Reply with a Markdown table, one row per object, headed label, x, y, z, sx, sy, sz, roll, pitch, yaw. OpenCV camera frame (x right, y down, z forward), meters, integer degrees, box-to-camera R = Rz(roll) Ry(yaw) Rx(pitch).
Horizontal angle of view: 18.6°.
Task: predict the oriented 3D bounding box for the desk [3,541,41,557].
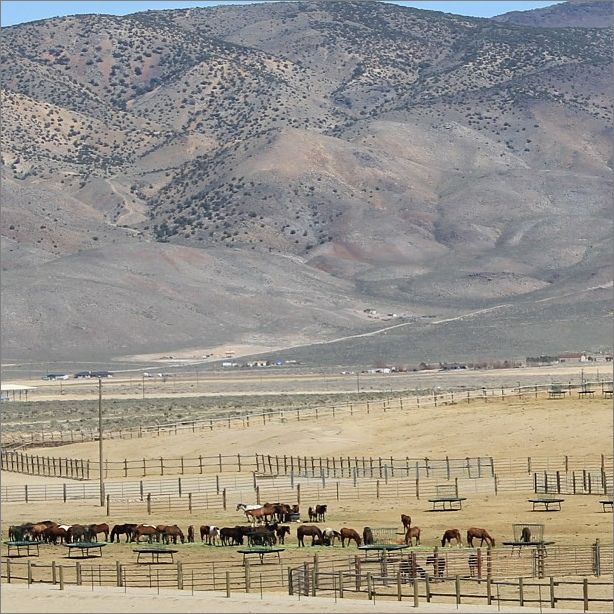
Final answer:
| label | x | y | z | sx | sy | sz | roll | pitch | yaw |
| --- | --- | --- | --- | --- | --- | --- | --- | --- | --- |
| desk | -16.141 | 13.577 | 103.295 | 1.648 | 0.638 | 1.192 | 2 | 2 | 40 |

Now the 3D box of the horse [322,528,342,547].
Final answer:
| label | x | y | z | sx | sy | sz | roll | pitch | yaw |
| --- | --- | --- | --- | --- | --- | --- | --- | --- | --- |
| horse | 1.415 | 12.765 | 103.187 | 0.855 | 1.007 | 1.490 | 5 | 9 | 21 |

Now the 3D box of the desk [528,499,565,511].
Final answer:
| label | x | y | z | sx | sy | sz | roll | pitch | yaw |
| --- | --- | --- | --- | --- | --- | --- | --- | --- | --- |
| desk | 14.100 | 11.510 | 108.384 | 1.908 | 0.718 | 2.098 | 2 | 8 | 9 |

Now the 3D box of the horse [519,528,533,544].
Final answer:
| label | x | y | z | sx | sy | sz | roll | pitch | yaw |
| --- | --- | --- | --- | --- | --- | --- | --- | --- | --- |
| horse | 12.092 | 12.572 | 101.594 | 0.565 | 0.871 | 1.788 | 3 | 8 | 7 |

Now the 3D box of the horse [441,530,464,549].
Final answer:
| label | x | y | z | sx | sy | sz | roll | pitch | yaw |
| --- | --- | --- | --- | --- | --- | --- | --- | --- | --- |
| horse | 8.062 | 12.754 | 102.459 | 1.144 | 0.988 | 1.540 | 2 | 8 | 4 |

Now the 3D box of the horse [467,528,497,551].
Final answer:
| label | x | y | z | sx | sy | sz | roll | pitch | yaw |
| --- | --- | --- | --- | --- | --- | --- | --- | --- | --- |
| horse | 9.662 | 12.718 | 102.162 | 1.593 | 1.057 | 1.342 | 2 | 8 | 7 |

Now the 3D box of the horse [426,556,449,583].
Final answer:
| label | x | y | z | sx | sy | sz | roll | pitch | yaw |
| --- | --- | --- | --- | --- | --- | --- | --- | --- | --- |
| horse | 7.001 | 13.854 | 98.490 | 1.225 | 0.945 | 1.134 | -1 | -3 | -24 |

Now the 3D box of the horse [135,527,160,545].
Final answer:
| label | x | y | z | sx | sy | sz | roll | pitch | yaw |
| --- | --- | --- | --- | --- | --- | --- | --- | --- | --- |
| horse | -9.260 | 12.816 | 104.266 | 1.170 | 0.987 | 1.520 | -6 | 11 | -40 |

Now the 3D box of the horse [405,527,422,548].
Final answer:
| label | x | y | z | sx | sy | sz | roll | pitch | yaw |
| --- | --- | --- | --- | --- | --- | --- | --- | --- | --- |
| horse | 5.865 | 12.710 | 102.440 | 0.846 | 1.000 | 2.090 | 2 | 8 | 4 |

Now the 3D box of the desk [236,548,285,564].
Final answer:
| label | x | y | z | sx | sy | sz | roll | pitch | yaw |
| --- | --- | --- | --- | --- | --- | --- | --- | --- | --- |
| desk | -2.550 | 13.416 | 101.539 | 2.511 | 0.711 | 2.538 | 1 | 7 | -4 |

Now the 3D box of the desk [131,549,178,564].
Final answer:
| label | x | y | z | sx | sy | sz | roll | pitch | yaw |
| --- | --- | --- | --- | --- | --- | --- | --- | --- | --- |
| desk | -8.480 | 13.555 | 101.926 | 2.443 | 0.680 | 2.165 | 1 | 7 | -2 |

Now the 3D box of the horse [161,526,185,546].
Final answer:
| label | x | y | z | sx | sy | sz | roll | pitch | yaw |
| --- | --- | --- | --- | --- | --- | --- | --- | --- | --- |
| horse | -7.662 | 12.865 | 104.340 | 1.275 | 1.017 | 1.544 | 1 | 8 | -4 |

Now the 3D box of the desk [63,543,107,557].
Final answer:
| label | x | y | z | sx | sy | sz | roll | pitch | yaw |
| --- | --- | --- | --- | --- | --- | --- | --- | --- | --- |
| desk | -12.500 | 13.361 | 102.896 | 2.174 | 0.808 | 2.006 | 1 | 8 | -6 |

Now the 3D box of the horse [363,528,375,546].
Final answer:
| label | x | y | z | sx | sy | sz | roll | pitch | yaw |
| --- | --- | --- | --- | --- | --- | --- | --- | --- | --- |
| horse | 3.403 | 12.658 | 102.077 | 0.653 | 0.916 | 1.290 | 2 | 8 | 2 |

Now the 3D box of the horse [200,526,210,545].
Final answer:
| label | x | y | z | sx | sy | sz | roll | pitch | yaw |
| --- | --- | --- | --- | --- | --- | --- | --- | --- | --- |
| horse | -5.862 | 12.826 | 104.270 | 0.529 | 0.854 | 0.921 | 1 | 8 | -3 |

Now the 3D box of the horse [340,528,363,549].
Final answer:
| label | x | y | z | sx | sy | sz | roll | pitch | yaw |
| --- | --- | --- | --- | --- | --- | --- | --- | --- | --- |
| horse | 2.428 | 12.801 | 102.475 | 1.231 | 1.086 | 1.662 | 2 | 8 | 1 |

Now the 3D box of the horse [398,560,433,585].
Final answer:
| label | x | y | z | sx | sy | sz | roll | pitch | yaw |
| --- | --- | --- | --- | --- | --- | --- | --- | --- | --- |
| horse | 5.572 | 13.812 | 97.406 | 1.349 | 1.351 | 2.972 | 2 | 8 | 3 |
